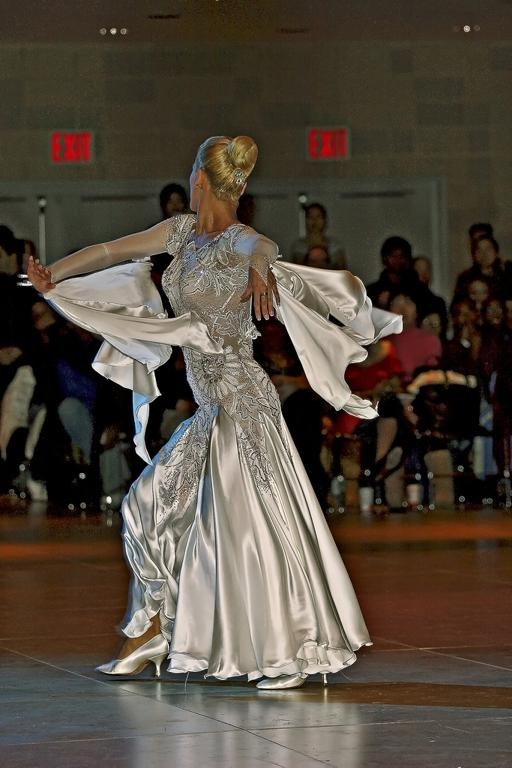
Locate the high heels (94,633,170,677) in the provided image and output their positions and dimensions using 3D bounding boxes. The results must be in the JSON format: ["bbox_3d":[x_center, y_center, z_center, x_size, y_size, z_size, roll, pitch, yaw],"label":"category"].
[{"bbox_3d":[-0.333,0.787,2.784,0.284,0.129,0.085,-4,-5,13],"label":"high heels"}]

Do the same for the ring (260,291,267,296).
[{"bbox_3d":[0.018,-0.223,2.342,0.016,0.011,0.011,-1,-1,-16],"label":"ring"}]

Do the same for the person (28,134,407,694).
[{"bbox_3d":[-0.170,0.055,2.722,0.893,1.559,0.464,-2,0,38],"label":"person"}]
